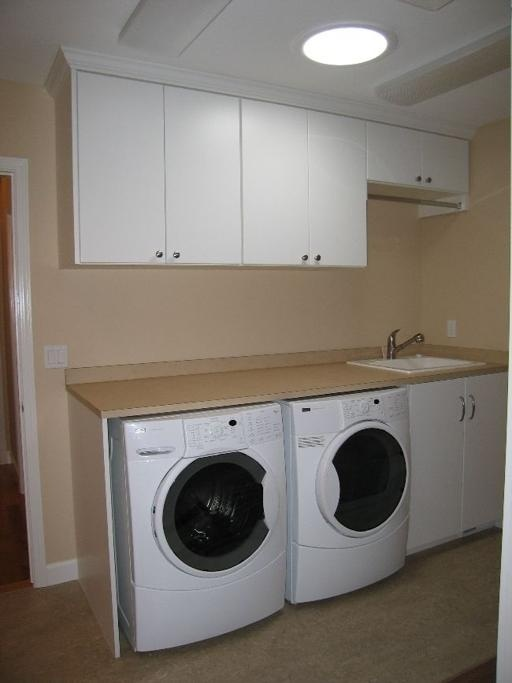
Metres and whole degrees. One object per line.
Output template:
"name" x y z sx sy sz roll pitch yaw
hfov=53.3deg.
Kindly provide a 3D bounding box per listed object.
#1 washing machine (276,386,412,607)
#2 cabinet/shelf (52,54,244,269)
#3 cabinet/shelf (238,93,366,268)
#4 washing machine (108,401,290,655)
"washing machine" 0.410 0.538 2.459 0.667 1.170 0.652 -4 4 -33
"cabinet/shelf" -0.437 -0.719 1.985 0.574 0.693 0.237 -4 8 -31
"cabinet/shelf" 0.212 -0.682 2.529 0.601 0.787 0.342 2 -7 -12
"washing machine" -0.232 0.560 2.068 0.708 1.256 0.667 -4 5 -30
